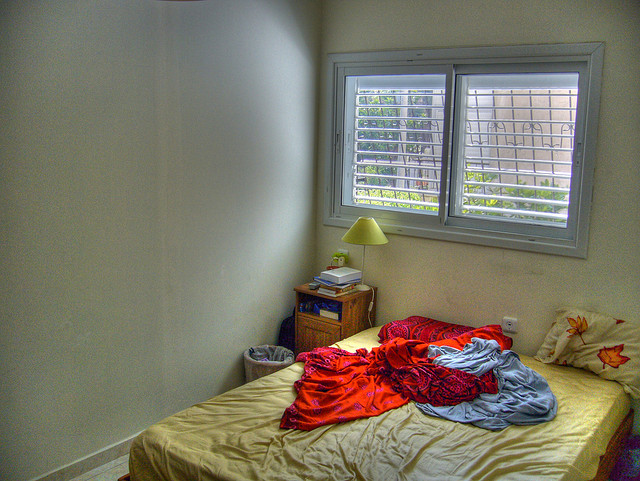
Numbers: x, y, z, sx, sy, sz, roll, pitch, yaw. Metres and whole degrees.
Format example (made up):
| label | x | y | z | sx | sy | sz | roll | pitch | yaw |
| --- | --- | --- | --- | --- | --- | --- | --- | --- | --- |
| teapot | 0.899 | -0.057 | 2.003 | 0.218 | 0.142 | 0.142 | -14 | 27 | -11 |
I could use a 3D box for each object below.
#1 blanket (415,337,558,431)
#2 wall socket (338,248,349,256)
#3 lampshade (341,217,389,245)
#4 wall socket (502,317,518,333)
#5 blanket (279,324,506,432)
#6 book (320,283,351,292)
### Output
| label | x | y | z | sx | sy | sz | roll | pitch | yaw |
| --- | --- | --- | --- | --- | --- | --- | --- | --- | --- |
| blanket | 0.981 | 0.854 | 2.954 | 0.561 | 0.159 | 0.467 | 7 | 22 | 45 |
| wall socket | 0.192 | 0.100 | 4.276 | 0.106 | 0.051 | 0.035 | 10 | 10 | 41 |
| lampshade | 0.335 | -0.057 | 3.847 | 0.221 | 0.132 | 0.230 | 1 | 10 | 3 |
| wall socket | 1.337 | 0.595 | 3.583 | 0.101 | 0.109 | 0.012 | 10 | 16 | 37 |
| blanket | 0.404 | 0.832 | 3.036 | 0.993 | 0.179 | 0.568 | -7 | 10 | -6 |
| book | 0.113 | 0.360 | 3.896 | 0.227 | 0.046 | 0.080 | 3 | 7 | -1 |
